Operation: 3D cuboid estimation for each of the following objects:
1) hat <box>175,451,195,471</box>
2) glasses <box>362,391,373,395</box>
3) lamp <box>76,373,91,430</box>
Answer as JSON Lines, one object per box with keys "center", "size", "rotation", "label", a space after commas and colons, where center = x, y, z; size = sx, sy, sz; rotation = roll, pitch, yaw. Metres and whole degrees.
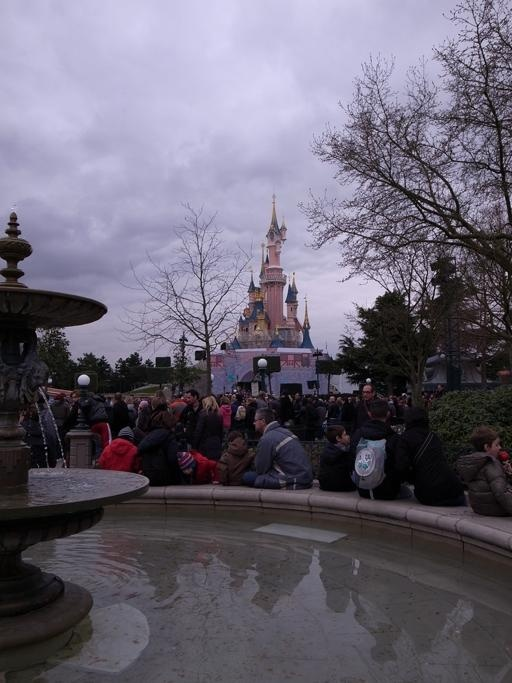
{"center": [-0.899, 1.455, 7.757], "size": [0.190, 0.182, 0.241], "rotation": [-24, 32, -1], "label": "hat"}
{"center": [1.631, 0.770, 9.075], "size": [0.102, 0.049, 0.077], "rotation": [7, -12, -42], "label": "glasses"}
{"center": [-3.094, 1.078, 10.953], "size": [0.325, 0.932, 0.305], "rotation": [6, -8, -37], "label": "lamp"}
